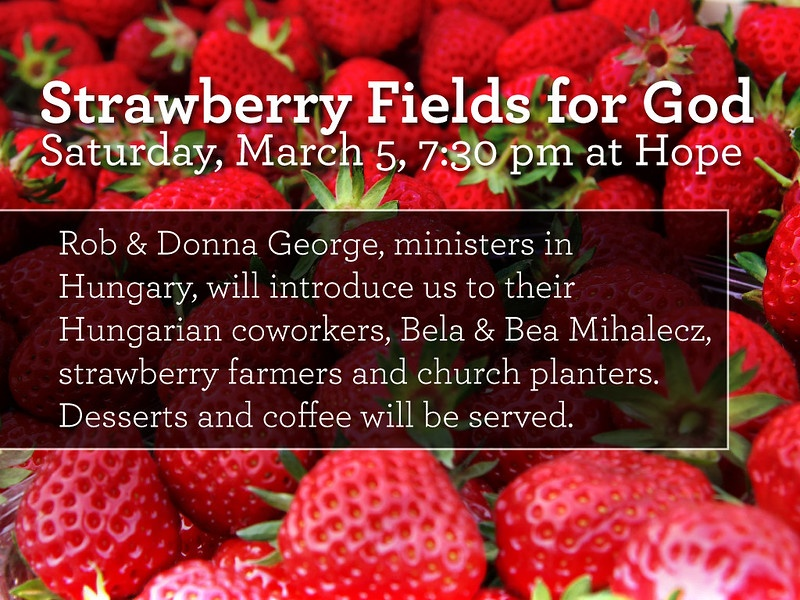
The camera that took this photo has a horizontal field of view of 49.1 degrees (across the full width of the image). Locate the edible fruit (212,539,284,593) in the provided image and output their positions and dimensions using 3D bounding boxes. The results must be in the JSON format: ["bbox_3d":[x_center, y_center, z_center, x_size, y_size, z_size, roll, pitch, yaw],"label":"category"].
[{"bbox_3d":[-0.147,0.262,0.863,0.061,0.052,0.038,20,69,5],"label":"edible fruit"}]
